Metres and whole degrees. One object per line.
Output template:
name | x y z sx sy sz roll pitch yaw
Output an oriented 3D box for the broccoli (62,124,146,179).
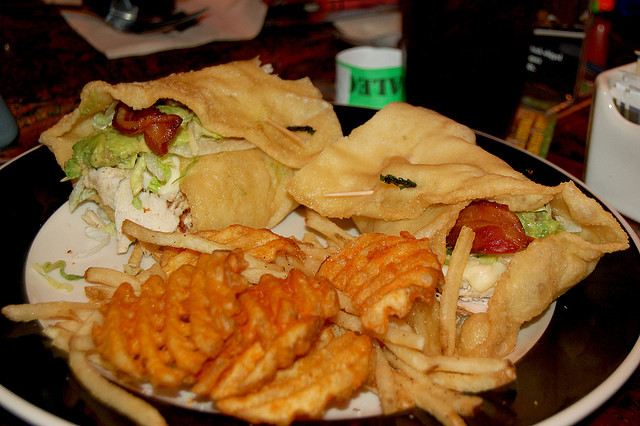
broccoli | -1.356 -0.368 3.389 0.349 0.128 0.374 32 97 19
